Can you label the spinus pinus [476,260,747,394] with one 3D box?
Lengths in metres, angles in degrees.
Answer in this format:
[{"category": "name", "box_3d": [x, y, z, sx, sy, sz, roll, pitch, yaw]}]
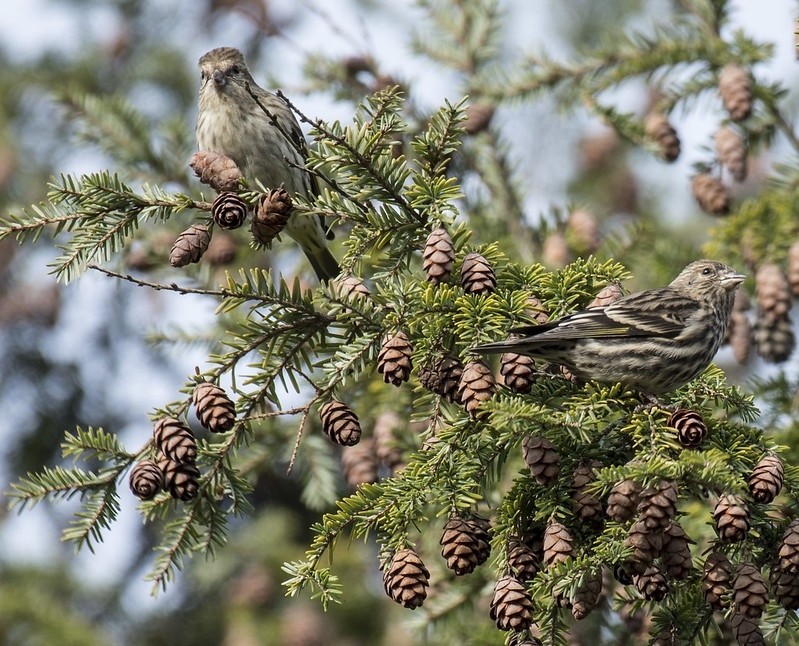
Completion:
[{"category": "spinus pinus", "box_3d": [1.221, 0.033, 6.589, 1.414, 0.470, 0.792, 1, 51, -9]}]
